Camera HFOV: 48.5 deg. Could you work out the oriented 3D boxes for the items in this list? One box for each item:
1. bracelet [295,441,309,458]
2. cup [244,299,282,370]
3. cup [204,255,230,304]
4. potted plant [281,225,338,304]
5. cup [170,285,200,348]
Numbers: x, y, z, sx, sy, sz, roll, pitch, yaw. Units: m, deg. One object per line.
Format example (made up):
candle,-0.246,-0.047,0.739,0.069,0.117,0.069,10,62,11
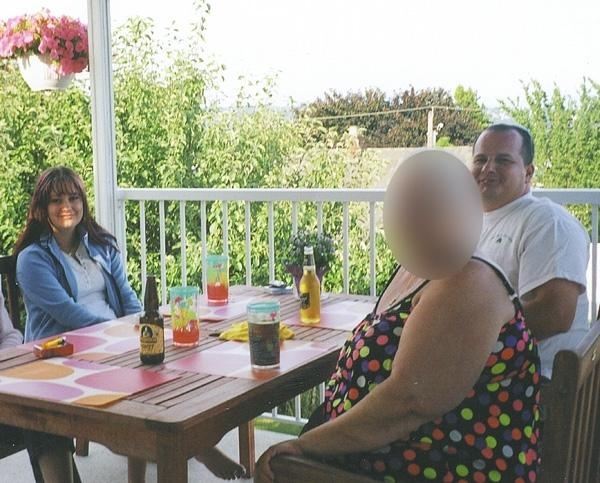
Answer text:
bracelet,0.005,0.527,1.671,0.022,0.031,0.026,2,3,-36
cup,-0.107,0.278,1.999,0.103,0.202,0.103,-1,12,0
cup,-0.347,0.161,2.789,0.106,0.196,0.121,2,12,7
potted plant,0.033,0.112,2.742,0.203,0.263,0.196,-1,2,-13
cup,-0.383,0.253,2.224,0.111,0.205,0.119,0,4,0
